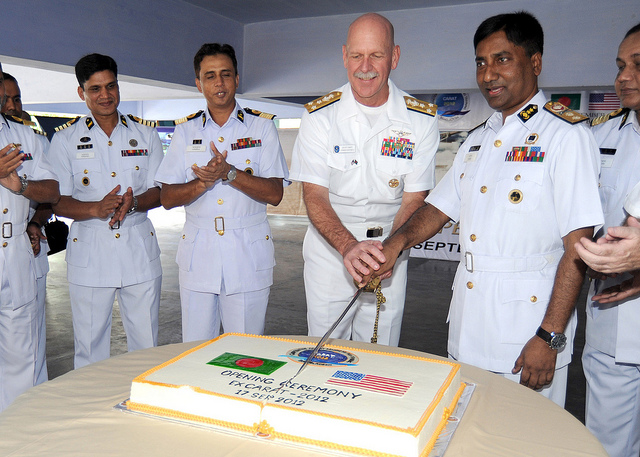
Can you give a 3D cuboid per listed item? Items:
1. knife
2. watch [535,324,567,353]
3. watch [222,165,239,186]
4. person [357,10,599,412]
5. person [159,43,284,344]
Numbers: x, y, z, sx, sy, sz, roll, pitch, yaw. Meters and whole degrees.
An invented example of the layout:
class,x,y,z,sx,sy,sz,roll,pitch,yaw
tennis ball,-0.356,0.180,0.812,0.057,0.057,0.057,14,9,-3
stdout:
class,x,y,z,sx,sy,sz,roll,pitch,yaw
knife,0.056,0.463,2.206,0.028,0.520,0.058,17,-25,43
watch,0.931,0.438,1.941,0.121,0.074,0.113,32,-14,-39
watch,-0.505,-0.305,2.735,0.093,0.108,0.069,22,-1,42
person,0.779,0.158,2.224,0.848,2.113,0.699,6,20,36
person,-0.563,-0.211,2.910,0.790,1.763,0.514,-9,15,-20
